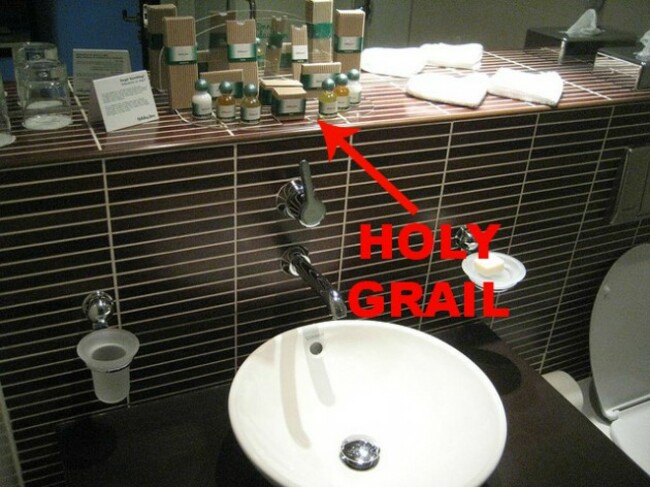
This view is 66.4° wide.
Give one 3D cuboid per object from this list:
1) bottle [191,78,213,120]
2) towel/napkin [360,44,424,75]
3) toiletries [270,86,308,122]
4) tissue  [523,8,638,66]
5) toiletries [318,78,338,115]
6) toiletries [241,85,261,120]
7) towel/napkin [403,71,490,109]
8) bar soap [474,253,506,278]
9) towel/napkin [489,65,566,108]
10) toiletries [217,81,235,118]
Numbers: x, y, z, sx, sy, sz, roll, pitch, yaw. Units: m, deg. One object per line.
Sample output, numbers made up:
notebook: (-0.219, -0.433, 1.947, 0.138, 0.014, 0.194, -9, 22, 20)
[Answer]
bottle: (-0.290, -0.341, 1.171, 0.055, 0.092, 0.054, 7, 37, -5)
towel/napkin: (0.219, -0.566, 1.545, 0.205, 0.080, 0.102, -4, 33, -6)
toiletries: (-0.085, -0.337, 1.254, 0.104, 0.098, 0.075, -7, 37, -16)
tissue : (0.903, -0.737, 1.792, 0.326, 0.151, 0.178, -4, 47, -2)
toiletries: (0.008, -0.366, 1.244, 0.049, 0.084, 0.068, -1, 34, 0)
toiletries: (-0.183, -0.349, 1.202, 0.049, 0.083, 0.115, -5, 33, -6)
towel/napkin: (0.368, -0.465, 1.465, 0.220, 0.054, 0.259, 12, 35, 18)
bar soap: (0.485, 0.064, 1.462, 0.085, 0.039, 0.069, -24, 40, -32)
towel/napkin: (0.585, -0.459, 1.448, 0.160, 0.042, 0.156, 17, 39, 21)
toiletries: (-0.239, -0.341, 1.184, 0.050, 0.088, 0.060, -7, 34, -9)
